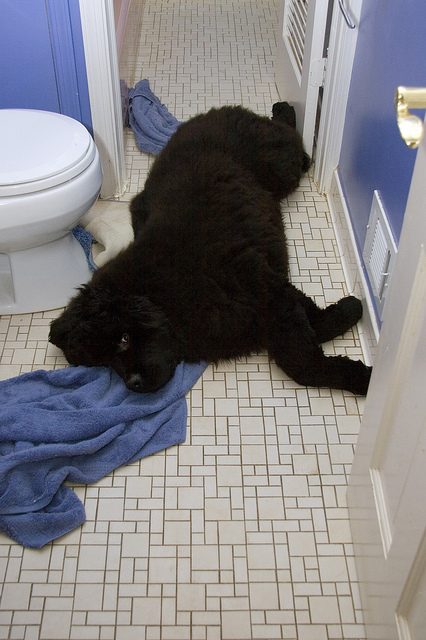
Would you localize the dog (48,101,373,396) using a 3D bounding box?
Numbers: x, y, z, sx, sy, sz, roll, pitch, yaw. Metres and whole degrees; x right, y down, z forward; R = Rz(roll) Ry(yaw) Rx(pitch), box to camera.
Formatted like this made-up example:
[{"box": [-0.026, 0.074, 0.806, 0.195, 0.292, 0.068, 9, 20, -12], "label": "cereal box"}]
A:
[{"box": [-0.002, -0.184, 1.457, 0.599, 0.669, 1.125, 1, 47, 3], "label": "dog"}]
